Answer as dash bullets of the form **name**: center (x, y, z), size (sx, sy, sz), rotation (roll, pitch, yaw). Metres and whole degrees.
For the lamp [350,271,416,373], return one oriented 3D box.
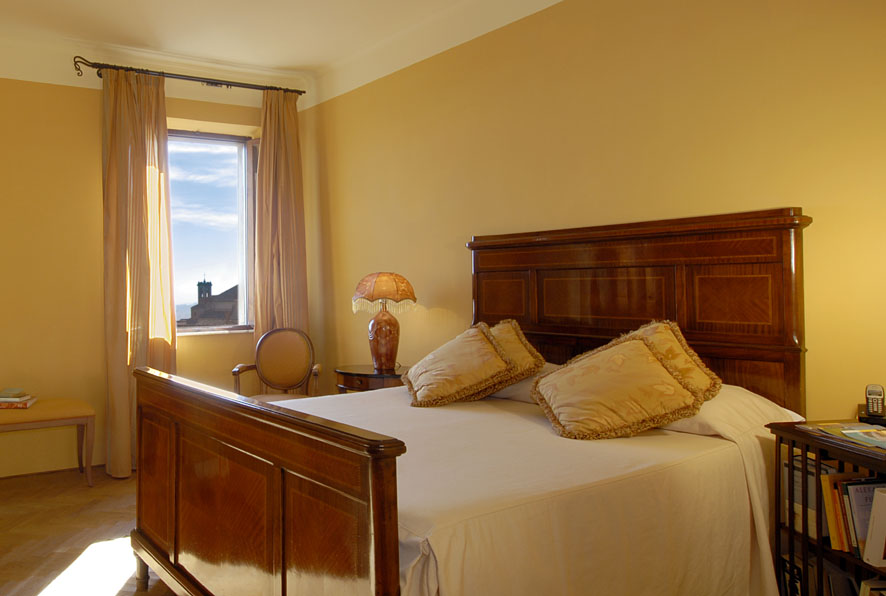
- **lamp**: center (-0.461, 0.191, 4.851), size (0.559, 0.738, 0.569), rotation (1, -5, -38)
